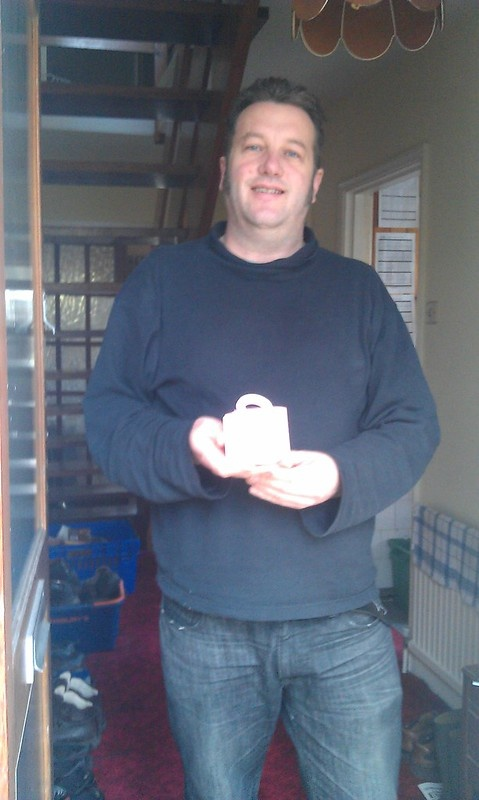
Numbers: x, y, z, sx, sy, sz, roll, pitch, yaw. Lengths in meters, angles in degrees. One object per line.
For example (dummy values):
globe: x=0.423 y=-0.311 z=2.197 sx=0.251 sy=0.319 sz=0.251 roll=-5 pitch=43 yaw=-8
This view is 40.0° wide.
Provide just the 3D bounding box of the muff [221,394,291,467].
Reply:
muff: x=0.025 y=0.042 z=0.923 sx=0.072 sy=0.105 sz=0.101 roll=6 pitch=-14 yaw=-43
